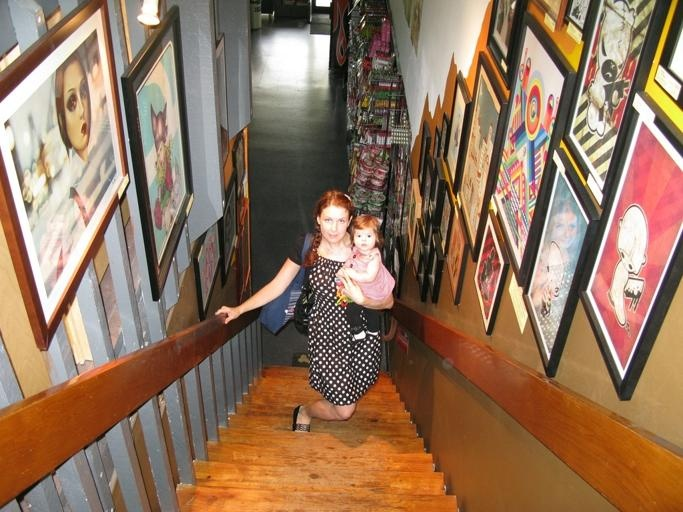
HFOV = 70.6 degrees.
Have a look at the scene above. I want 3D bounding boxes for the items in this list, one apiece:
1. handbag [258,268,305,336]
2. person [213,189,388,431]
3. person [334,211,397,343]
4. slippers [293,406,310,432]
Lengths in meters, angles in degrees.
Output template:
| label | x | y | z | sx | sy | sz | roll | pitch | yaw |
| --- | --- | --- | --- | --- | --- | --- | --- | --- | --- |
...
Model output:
| label | x | y | z | sx | sy | sz | roll | pitch | yaw |
| --- | --- | --- | --- | --- | --- | --- | --- | --- | --- |
| handbag | -0.437 | 0.337 | 3.706 | 0.394 | 0.465 | 0.293 | 2 | 22 | 7 |
| person | -0.084 | 0.515 | 3.346 | 1.232 | 1.949 | 0.577 | 2 | 12 | 5 |
| person | 0.164 | 0.148 | 3.182 | 0.351 | 0.893 | 0.367 | 5 | 24 | 11 |
| slippers | -0.293 | 1.190 | 3.470 | 0.067 | 0.233 | 0.076 | 2 | -17 | -17 |
